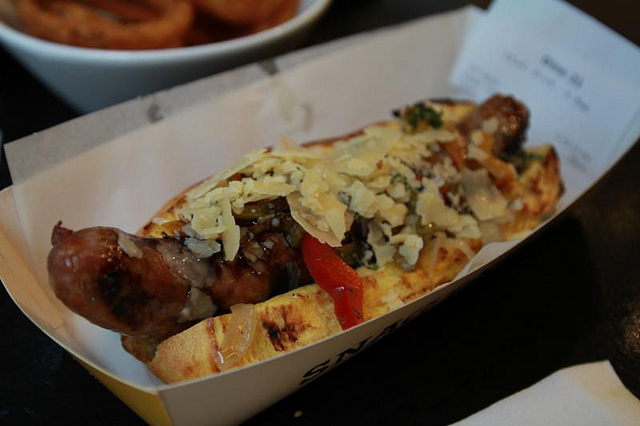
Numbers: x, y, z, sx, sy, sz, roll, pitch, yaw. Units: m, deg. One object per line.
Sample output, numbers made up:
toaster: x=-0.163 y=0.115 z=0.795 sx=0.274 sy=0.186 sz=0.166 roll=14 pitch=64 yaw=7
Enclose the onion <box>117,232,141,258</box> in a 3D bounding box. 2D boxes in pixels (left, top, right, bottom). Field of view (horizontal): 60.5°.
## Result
onion: x=-0.773 y=0.135 z=2.224 sx=0.025 sy=0.076 sz=0.099 roll=-44 pitch=60 yaw=17
